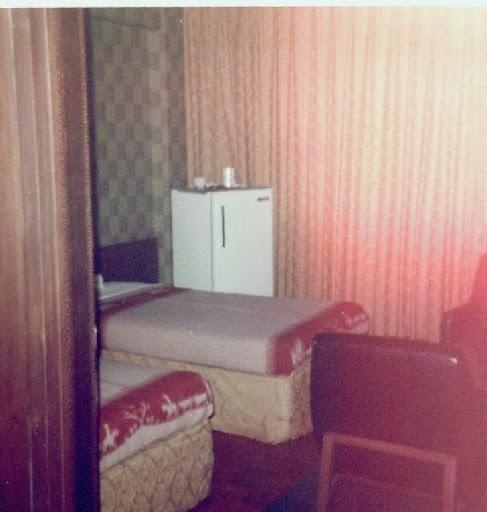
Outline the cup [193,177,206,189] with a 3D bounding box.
[{"bbox_3d":[-0.380,-0.648,4.437,0.112,0.126,0.113,1,8,0],"label":"cup"}]
